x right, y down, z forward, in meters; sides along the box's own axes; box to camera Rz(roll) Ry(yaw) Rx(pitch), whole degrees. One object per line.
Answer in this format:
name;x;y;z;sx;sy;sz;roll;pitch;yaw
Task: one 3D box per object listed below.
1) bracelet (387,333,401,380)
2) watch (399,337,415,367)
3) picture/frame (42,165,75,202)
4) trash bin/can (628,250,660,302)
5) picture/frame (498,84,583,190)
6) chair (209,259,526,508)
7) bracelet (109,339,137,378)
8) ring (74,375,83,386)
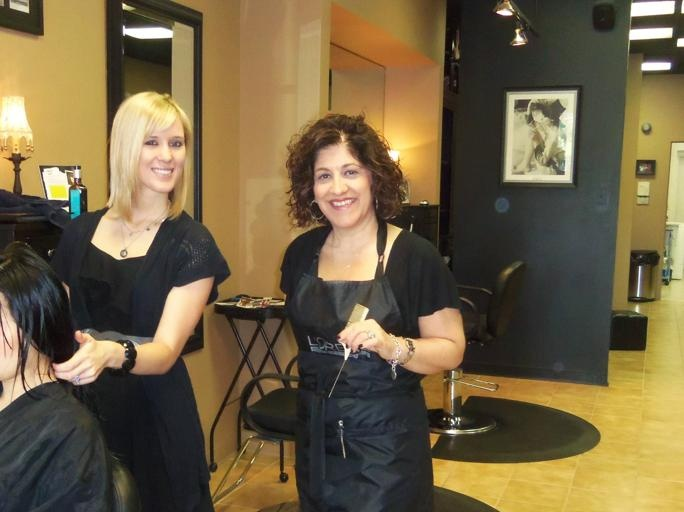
bracelet;0.174;0.336;1.887;0.036;0.164;0.093;0;7;5
watch;0.214;0.307;1.867;0.030;0.072;0.072;17;24;-31
picture/frame;-1.198;-0.304;2.470;0.170;0.187;0.026;-1;-14;-9
trash bin/can;5.188;0.352;9.951;0.674;0.883;0.389;-3;7;-20
picture/frame;1.926;-1.160;5.562;0.965;1.356;0.137;2;4;21
chair;-0.074;0.947;3.942;2.045;1.302;1.122;-6;-6;-5
bracelet;-0.673;0.315;1.829;0.106;0.109;0.099;2;3;-32
ring;-0.715;0.340;1.577;0.021;0.029;0.007;-3;9;-28
